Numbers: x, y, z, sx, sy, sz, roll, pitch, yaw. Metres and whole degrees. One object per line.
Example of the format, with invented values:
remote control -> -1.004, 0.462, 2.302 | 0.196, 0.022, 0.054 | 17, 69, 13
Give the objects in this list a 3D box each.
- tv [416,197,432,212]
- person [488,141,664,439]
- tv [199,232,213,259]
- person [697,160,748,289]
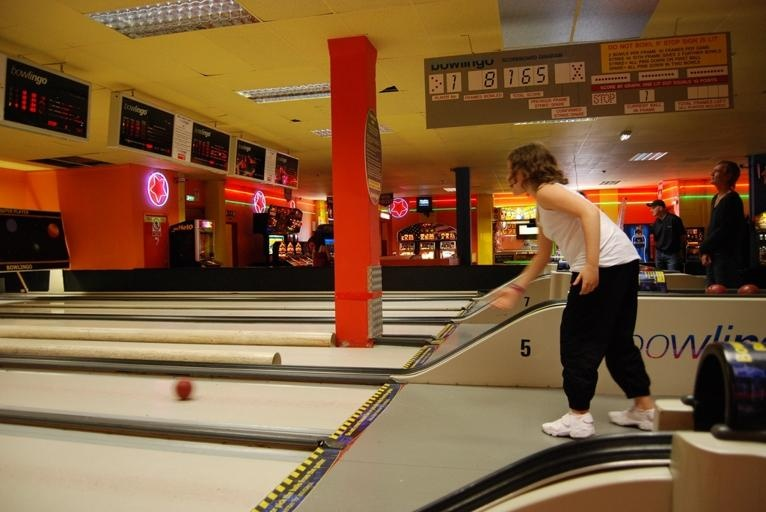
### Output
tv -> 1.582, -1.986, 19.762 | 0.777, 0.507, 0.727 | 0, -3, 6
person -> 1.203, 0.192, 3.196 | 0.834, 1.846, 0.485 | -1, 3, 26
tv -> -4.595, -0.277, 13.366 | 0.134, 0.731, 0.595 | -2, 3, 12
person -> 3.618, -0.330, 5.460 | 0.413, 1.329, 0.736 | -1, 3, 34
